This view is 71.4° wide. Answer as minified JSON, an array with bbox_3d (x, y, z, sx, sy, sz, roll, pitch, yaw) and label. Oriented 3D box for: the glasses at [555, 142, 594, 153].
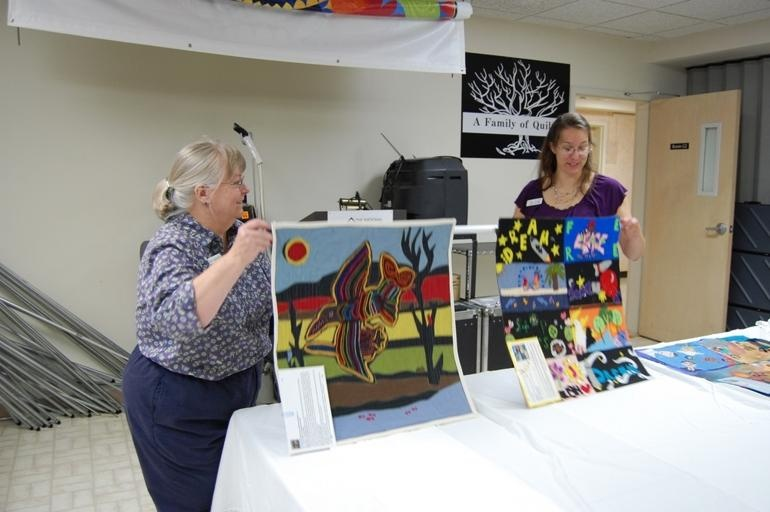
[{"bbox_3d":[1.073,-0.592,2.968,0.217,0.063,0.098,-2,8,-10],"label":"glasses"}]
